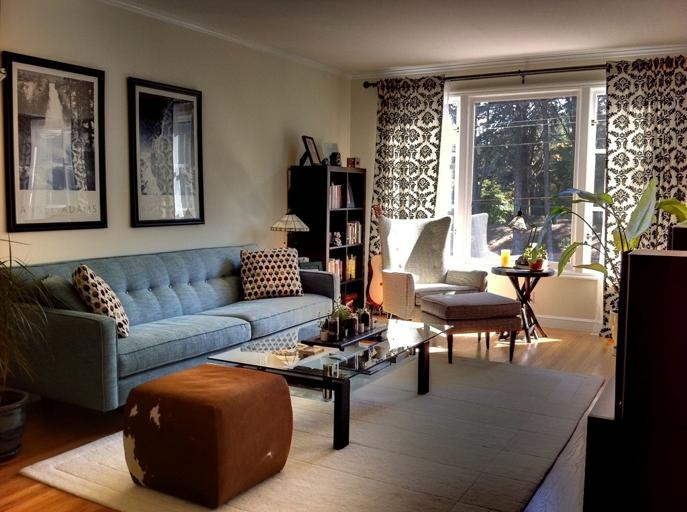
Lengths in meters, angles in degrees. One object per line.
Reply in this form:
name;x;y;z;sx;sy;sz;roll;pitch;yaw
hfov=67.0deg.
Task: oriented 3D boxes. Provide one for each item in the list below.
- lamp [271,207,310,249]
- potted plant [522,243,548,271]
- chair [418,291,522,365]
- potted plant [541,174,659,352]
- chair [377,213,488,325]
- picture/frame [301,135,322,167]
lamp;-0.560;-0.312;5.580;0.384;0.473;0.388;0;3;-2
potted plant;1.982;0.011;5.364;0.268;0.267;0.258;2;-2;-25
chair;1.192;0.550;4.750;0.677;0.492;0.707;-1;5;-11
potted plant;2.531;-0.092;5.218;0.991;1.326;1.428;4;9;28
chair;0.869;0.128;5.939;1.078;1.356;1.203;0;0;-18
picture/frame;-0.394;-1.237;6.165;0.033;0.381;0.376;-17;-32;19
